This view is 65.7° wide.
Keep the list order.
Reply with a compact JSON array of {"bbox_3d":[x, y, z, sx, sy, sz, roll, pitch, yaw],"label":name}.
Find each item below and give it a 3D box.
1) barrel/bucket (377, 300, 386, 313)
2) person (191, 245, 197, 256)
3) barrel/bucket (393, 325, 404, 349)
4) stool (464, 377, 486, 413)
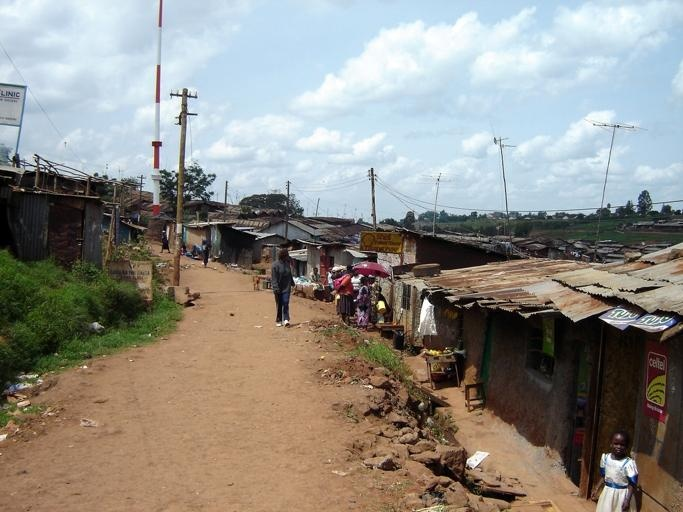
[{"bbox_3d":[1.519,1.876,20.037,0.291,0.392,0.424,3,9,-5],"label":"barrel/bucket"},{"bbox_3d":[-12.239,-0.436,44.086,0.345,0.838,0.833,2,9,-15],"label":"person"},{"bbox_3d":[1.836,2.624,17.240,0.472,0.762,0.733,2,7,-1],"label":"barrel/bucket"},{"bbox_3d":[3.105,3.288,12.686,0.523,0.799,0.556,0,-5,-21],"label":"stool"}]
